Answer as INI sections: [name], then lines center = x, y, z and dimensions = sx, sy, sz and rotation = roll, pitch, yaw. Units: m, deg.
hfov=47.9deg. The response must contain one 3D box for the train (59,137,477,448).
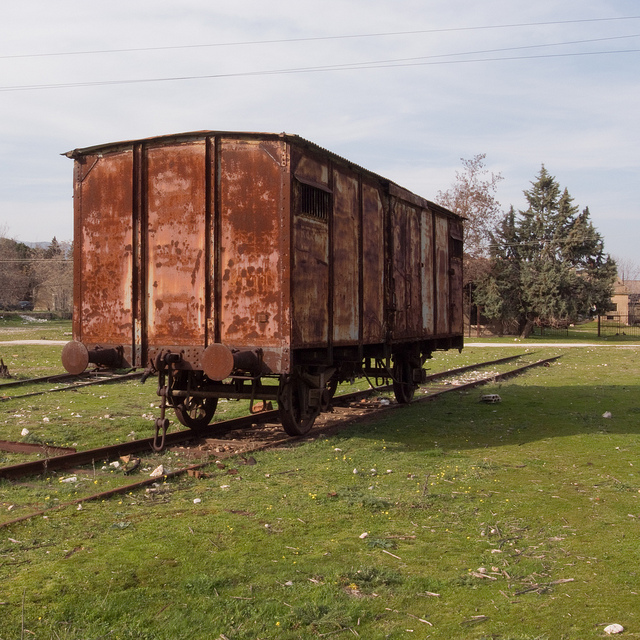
[train]
center = 0.541, -0.360, 11.990
dimensions = 3.040, 3.985, 9.832
rotation = -1, -1, 37
